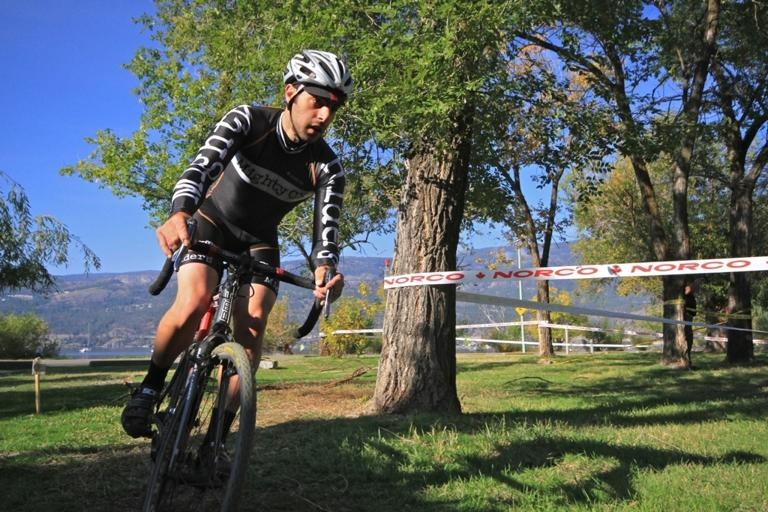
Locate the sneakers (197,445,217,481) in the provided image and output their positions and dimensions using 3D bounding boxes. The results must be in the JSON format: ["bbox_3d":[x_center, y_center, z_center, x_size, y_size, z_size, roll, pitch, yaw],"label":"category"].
[{"bbox_3d":[-2.065,2.430,7.213,0.287,0.479,0.115,7,-2,41],"label":"sneakers"}]
